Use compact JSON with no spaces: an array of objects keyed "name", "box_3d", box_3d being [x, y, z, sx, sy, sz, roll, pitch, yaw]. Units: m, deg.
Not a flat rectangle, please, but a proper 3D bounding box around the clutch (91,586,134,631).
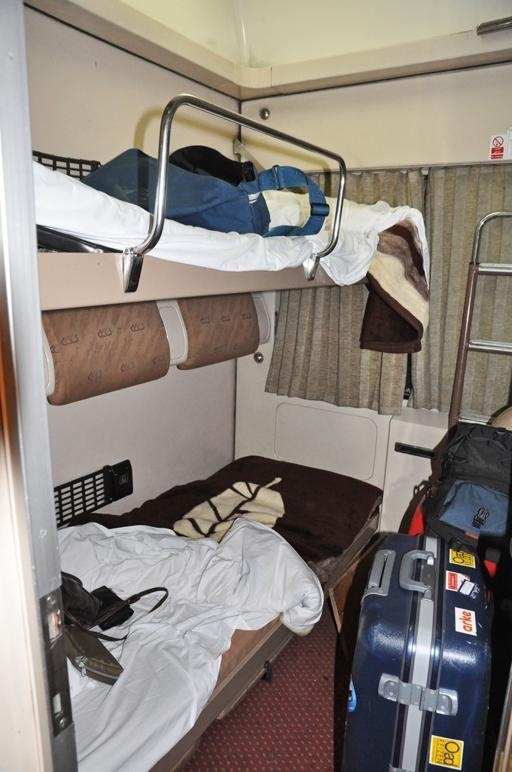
[{"name":"clutch","box_3d":[-0.469,0.693,1.702,0.098,0.038,0.100,30,26,25]}]
